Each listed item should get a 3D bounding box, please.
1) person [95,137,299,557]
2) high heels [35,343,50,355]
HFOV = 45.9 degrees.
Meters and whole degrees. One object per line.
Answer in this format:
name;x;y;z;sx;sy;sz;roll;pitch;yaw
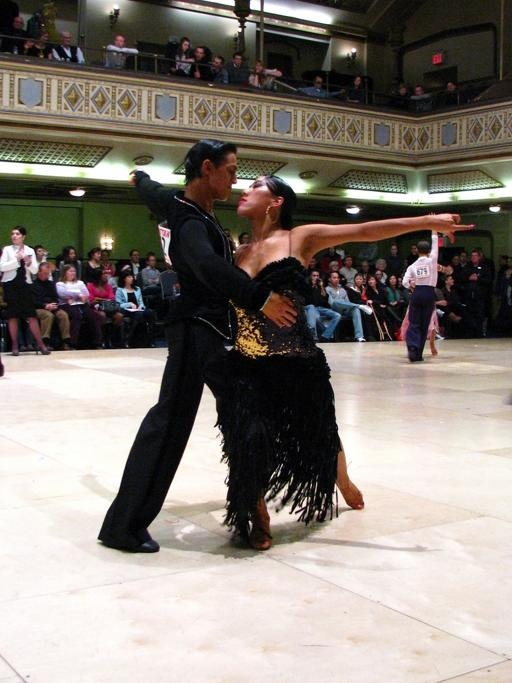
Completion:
person;-0.203;0.008;2.065;0.473;1.438;0.894;-1;0;-38
high heels;-3.524;0.141;9.957;0.127;0.137;0.379;-9;1;-33
